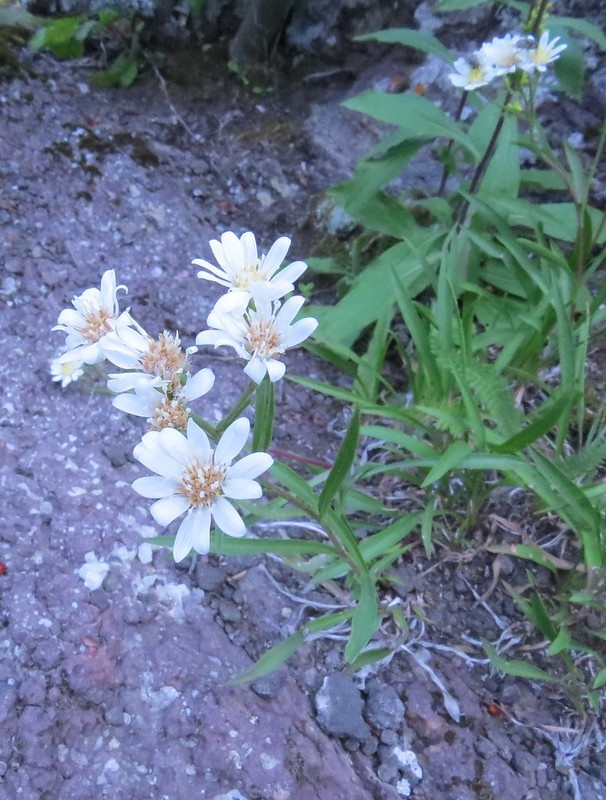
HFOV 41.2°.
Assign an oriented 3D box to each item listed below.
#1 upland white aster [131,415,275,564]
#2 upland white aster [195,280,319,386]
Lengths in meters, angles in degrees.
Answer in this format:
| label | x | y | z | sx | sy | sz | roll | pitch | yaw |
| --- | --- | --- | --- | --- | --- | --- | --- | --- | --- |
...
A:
| label | x | y | z | sx | sy | sz | roll | pitch | yaw |
| --- | --- | --- | --- | --- | --- | --- | --- | --- | --- |
| upland white aster | -0.207 | 0.150 | 1.611 | 0.253 | 0.086 | 0.248 | 10 | 16 | 10 |
| upland white aster | -0.079 | -0.159 | 1.680 | 0.200 | 0.196 | 0.060 | 9 | 60 | -37 |
